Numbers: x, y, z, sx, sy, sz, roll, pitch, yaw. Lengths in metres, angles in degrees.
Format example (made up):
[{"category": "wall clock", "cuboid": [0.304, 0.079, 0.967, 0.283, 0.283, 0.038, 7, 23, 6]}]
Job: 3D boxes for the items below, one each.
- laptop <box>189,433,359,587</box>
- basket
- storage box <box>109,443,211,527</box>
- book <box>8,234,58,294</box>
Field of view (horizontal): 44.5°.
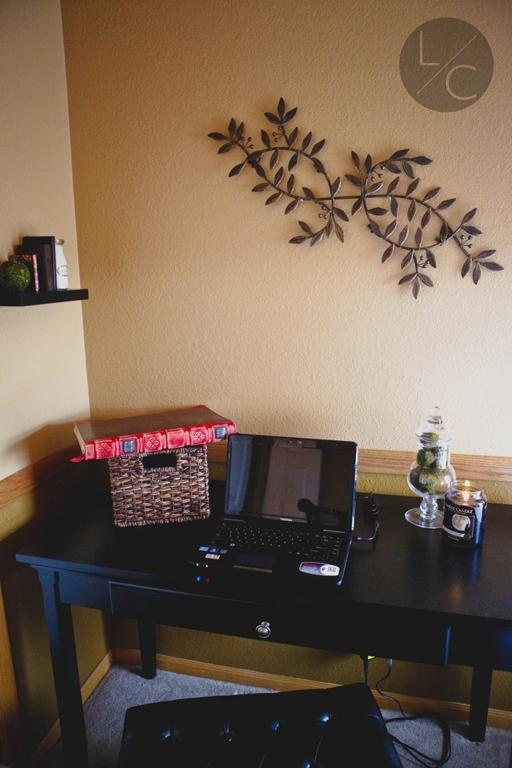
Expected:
[{"category": "laptop", "cuboid": [0.049, 0.292, 1.428, 0.325, 0.200, 0.301, 3, 15, 16]}, {"category": "basket", "cuboid": [-0.264, 0.251, 1.650, 0.276, 0.185, 0.271, -4, 4, -29]}, {"category": "storage box", "cuboid": [-0.235, 0.261, 1.542, 0.213, 0.163, 0.216, -5, 3, -8]}, {"category": "book", "cuboid": [-0.541, -0.296, 1.547, 0.114, 0.134, 0.099, -5, 15, -17]}]
